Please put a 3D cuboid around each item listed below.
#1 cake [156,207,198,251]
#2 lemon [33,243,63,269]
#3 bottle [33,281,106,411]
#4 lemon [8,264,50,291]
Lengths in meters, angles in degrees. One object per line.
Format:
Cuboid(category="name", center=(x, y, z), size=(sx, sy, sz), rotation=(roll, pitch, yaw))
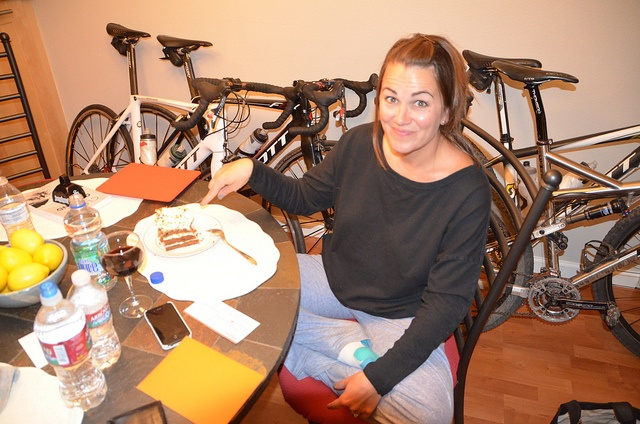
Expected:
Cuboid(category="cake", center=(-0.623, 0.069, 2.006), size=(0.164, 0.109, 0.211), rotation=(-9, 31, -21))
Cuboid(category="lemon", center=(-1.046, 0.171, 1.750), size=(0.084, 0.085, 0.107), rotation=(5, 3, -2))
Cuboid(category="bottle", center=(-0.831, 0.478, 1.515), size=(0.146, 0.340, 0.209), rotation=(-21, 35, -30))
Cuboid(category="lemon", center=(-1.094, 0.240, 1.693), size=(0.125, 0.082, 0.076), rotation=(-15, 42, -8))
